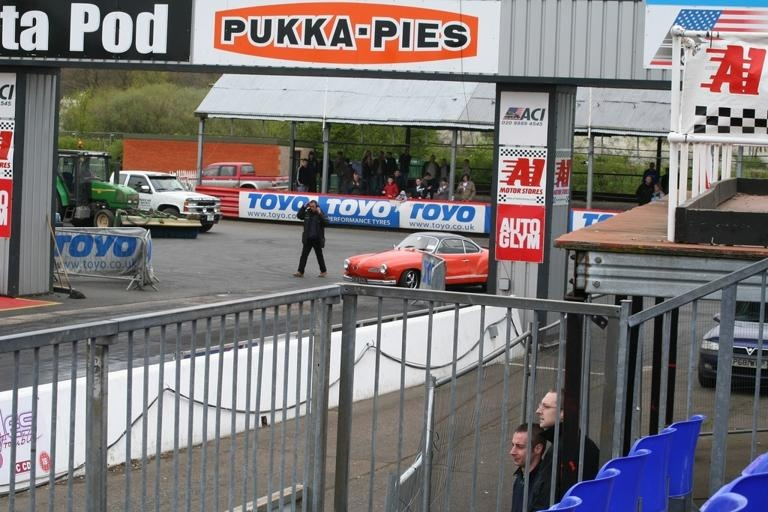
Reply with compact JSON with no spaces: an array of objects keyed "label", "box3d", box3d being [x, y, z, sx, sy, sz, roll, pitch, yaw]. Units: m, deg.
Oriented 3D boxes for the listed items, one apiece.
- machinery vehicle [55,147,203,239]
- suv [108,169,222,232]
[{"label":"machinery vehicle","box3d":[-7.094,-1.818,50.723,5.696,2.447,2.354,1,2,22]},{"label":"suv","box3d":[-7.035,-1.642,52.706,3.852,1.891,1.859,2,3,33]}]
